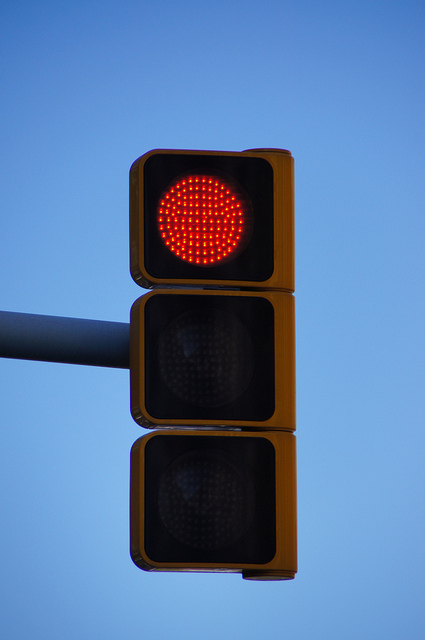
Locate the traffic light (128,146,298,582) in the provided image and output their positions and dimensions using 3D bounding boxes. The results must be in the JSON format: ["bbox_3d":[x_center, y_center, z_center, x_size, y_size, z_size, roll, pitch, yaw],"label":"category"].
[{"bbox_3d":[0.014,0.086,2.259,0.288,0.820,0.122,3,-28,-7],"label":"traffic light"}]
